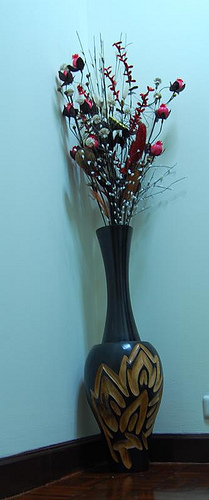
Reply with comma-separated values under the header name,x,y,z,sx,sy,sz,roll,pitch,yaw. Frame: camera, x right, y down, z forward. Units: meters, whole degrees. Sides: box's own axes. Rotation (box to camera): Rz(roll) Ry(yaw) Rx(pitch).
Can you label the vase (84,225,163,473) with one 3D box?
name,x,y,z,sx,sy,sz,roll,pitch,yaw
vase,0.063,0.331,1.364,0.266,0.755,0.435,-4,17,17
